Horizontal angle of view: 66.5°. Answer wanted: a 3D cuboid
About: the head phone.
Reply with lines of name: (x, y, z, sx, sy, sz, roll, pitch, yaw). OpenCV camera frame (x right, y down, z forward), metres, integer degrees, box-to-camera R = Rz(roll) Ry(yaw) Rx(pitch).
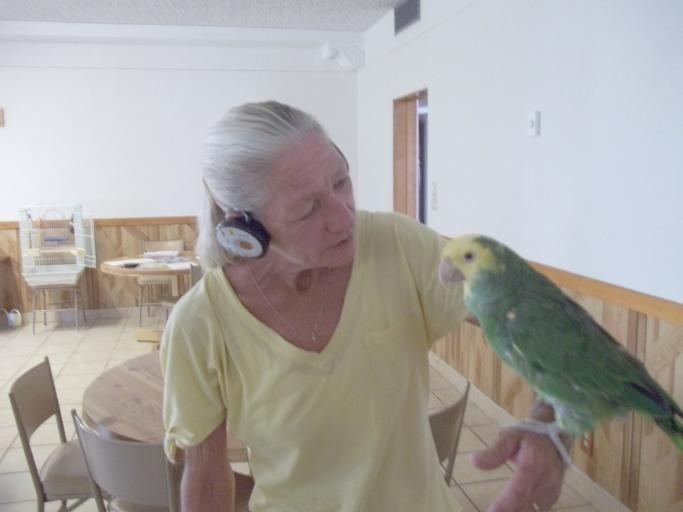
head phone: (-0.151, -0.094, 1.104, 0.230, 0.109, 0.189, -9, 41, -10)
